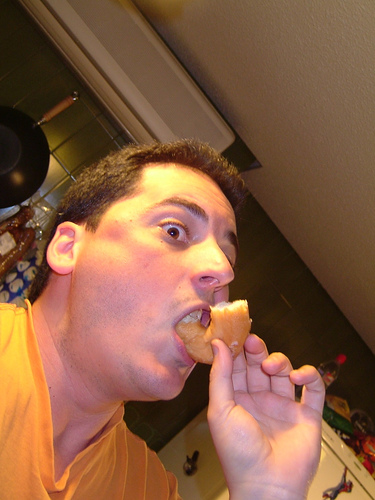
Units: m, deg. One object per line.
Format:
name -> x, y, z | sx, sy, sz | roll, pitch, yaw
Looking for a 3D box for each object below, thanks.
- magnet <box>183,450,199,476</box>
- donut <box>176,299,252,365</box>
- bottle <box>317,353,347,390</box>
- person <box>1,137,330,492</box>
magnet -> 0.011, 0.780, 1.485 | 0.045, 0.072, 0.026 | 11, -15, 40
donut -> 0.048, 0.151, 0.814 | 0.132, 0.131, 0.049 | -24, 16, 6
bottle -> 0.657, 0.544, 1.843 | 0.141, 0.174, 0.048 | 11, 2, -25
person -> -0.052, 0.199, 0.876 | 0.682, 0.703, 0.394 | 11, 2, -9
